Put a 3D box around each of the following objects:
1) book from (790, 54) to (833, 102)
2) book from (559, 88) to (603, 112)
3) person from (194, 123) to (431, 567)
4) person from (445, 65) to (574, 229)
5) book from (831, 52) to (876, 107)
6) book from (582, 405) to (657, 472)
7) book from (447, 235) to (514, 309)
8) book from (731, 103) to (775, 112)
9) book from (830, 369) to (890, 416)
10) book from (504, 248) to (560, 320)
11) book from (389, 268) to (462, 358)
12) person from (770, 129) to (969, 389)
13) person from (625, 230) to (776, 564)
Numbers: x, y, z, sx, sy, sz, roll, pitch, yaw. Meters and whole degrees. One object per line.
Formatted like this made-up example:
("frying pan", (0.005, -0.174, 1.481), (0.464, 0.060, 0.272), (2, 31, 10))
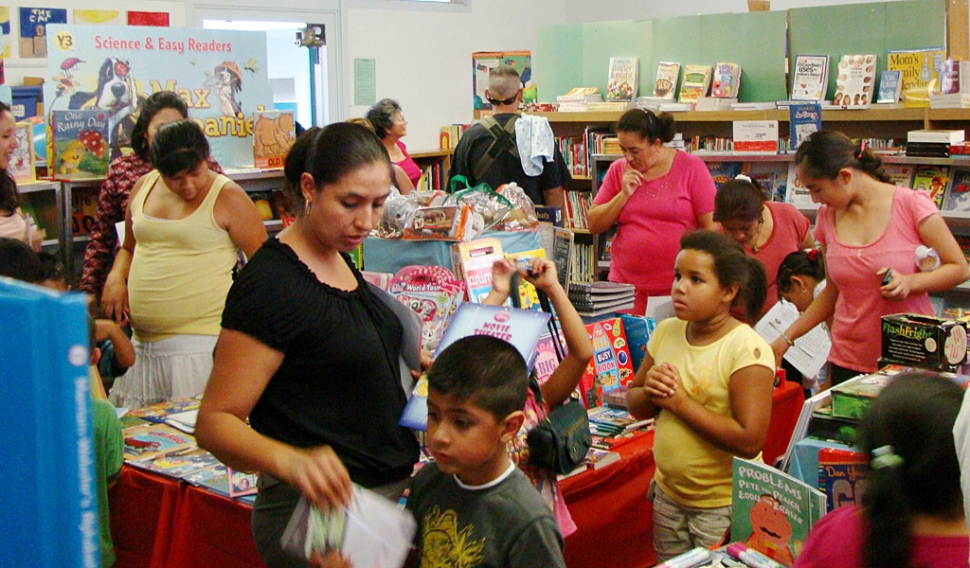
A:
("book", (3.294, -2.098, 6.662), (0.337, 0.475, 0.264), (4, 10, 26))
("book", (1.148, -2.232, 7.888), (0.356, 0.154, 0.467), (-1, 7, 22))
("person", (-0.527, 0.129, 2.015), (0.428, 1.232, 0.587), (2, 10, 20))
("person", (0.188, -1.190, 5.250), (0.887, 1.100, 0.442), (0, 9, 3))
("book", (3.627, -1.996, 6.443), (0.355, 0.551, 0.364), (4, 10, 28))
("book", (0.642, 0.764, 3.267), (0.249, 0.059, 0.237), (8, 14, 39))
("book", (0.039, -0.070, 3.024), (0.298, 0.285, 0.069), (-2, 1, -35))
("book", (2.818, -1.847, 6.857), (0.227, 0.052, 0.218), (3, 9, 28))
("book", (1.409, 0.409, 2.470), (0.186, 0.082, 0.369), (1, 13, 40))
("book", (0.142, 0.000, 2.688), (0.066, 0.272, 0.288), (-1, -2, 37))
("book", (-0.264, 0.132, 3.167), (0.352, 0.403, 0.159), (8, -18, 17))
("person", (2.004, -0.112, 3.449), (0.861, 1.356, 0.400), (3, 10, 23))
("person", (0.903, 0.519, 2.800), (0.574, 1.457, 0.439), (1, 9, 12))
